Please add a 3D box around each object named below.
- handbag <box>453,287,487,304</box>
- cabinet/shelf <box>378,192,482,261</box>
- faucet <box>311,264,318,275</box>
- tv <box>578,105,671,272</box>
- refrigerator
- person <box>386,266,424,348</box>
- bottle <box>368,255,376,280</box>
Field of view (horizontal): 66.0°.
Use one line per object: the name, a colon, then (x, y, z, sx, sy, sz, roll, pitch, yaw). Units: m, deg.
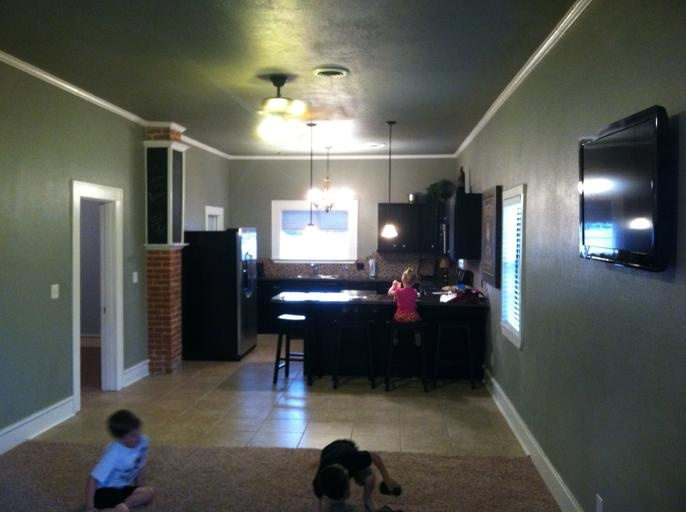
handbag: (1.615, 0.522, 6.782, 0.432, 0.151, 0.370, 0, 3, 12)
cabinet/shelf: (1.328, -0.451, 8.842, 1.047, 0.740, 1.094, -1, -5, 3)
faucet: (-0.553, 0.262, 9.903, 0.138, 0.225, 0.049, -1, 4, -7)
tv: (1.653, -0.371, 3.082, 0.135, 0.876, 0.613, -1, 4, -12)
refrigerator: (-1.841, 0.572, 7.926, 1.152, 1.929, 0.654, -2, 4, -22)
person: (0.785, 0.669, 6.716, 0.378, 0.983, 0.603, 0, 4, 3)
bottle: (0.536, 0.202, 9.795, 0.162, 0.404, 0.128, 0, 4, 2)
